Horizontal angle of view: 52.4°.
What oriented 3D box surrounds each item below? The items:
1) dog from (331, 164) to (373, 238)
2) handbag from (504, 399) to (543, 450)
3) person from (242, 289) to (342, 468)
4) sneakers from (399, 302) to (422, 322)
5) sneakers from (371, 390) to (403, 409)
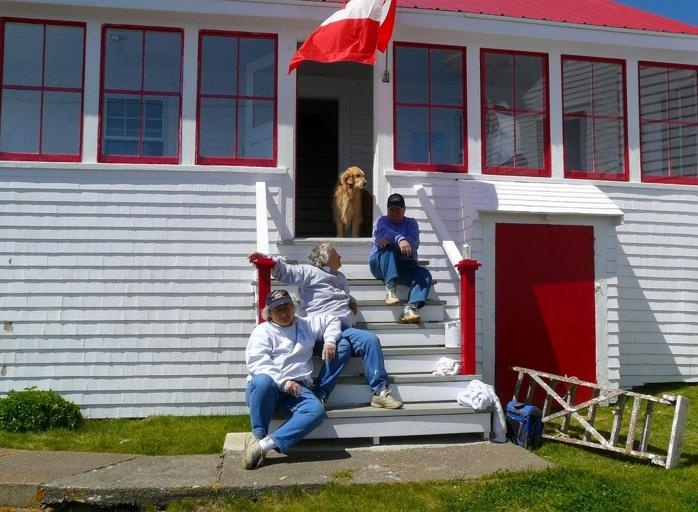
[{"bbox_3d":[0.066,-0.779,10.445,0.592,1.040,0.600,-1,6,-2],"label":"dog"},{"bbox_3d":[2.058,1.993,8.386,0.312,0.492,0.495,8,-3,-18],"label":"handbag"},{"bbox_3d":[-0.651,1.243,7.742,1.361,1.682,0.971,-4,7,-26],"label":"person"},{"bbox_3d":[0.774,0.723,8.947,0.257,0.231,0.241,0,7,5],"label":"sneakers"},{"bbox_3d":[0.431,1.628,8.023,0.349,0.158,0.160,0,-5,18],"label":"sneakers"}]
